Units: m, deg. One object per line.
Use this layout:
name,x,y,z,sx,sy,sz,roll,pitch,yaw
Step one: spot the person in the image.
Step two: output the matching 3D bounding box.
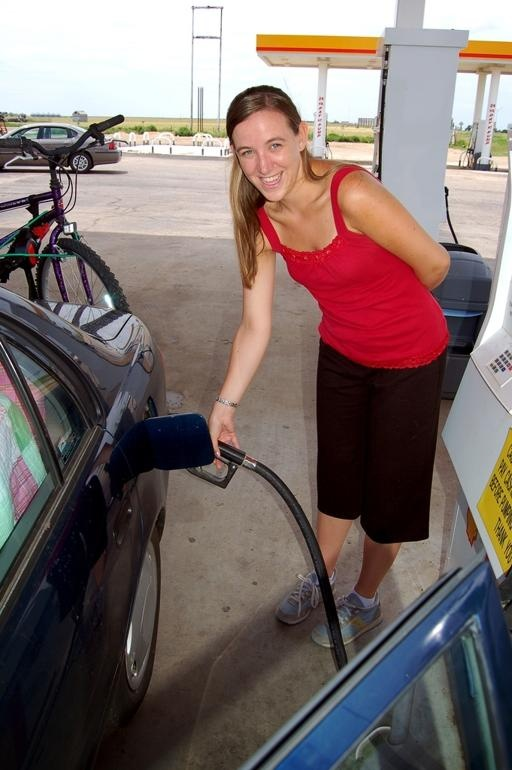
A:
person,0.232,-0.045,1.577,0.710,1.565,0.562,0,5,17
